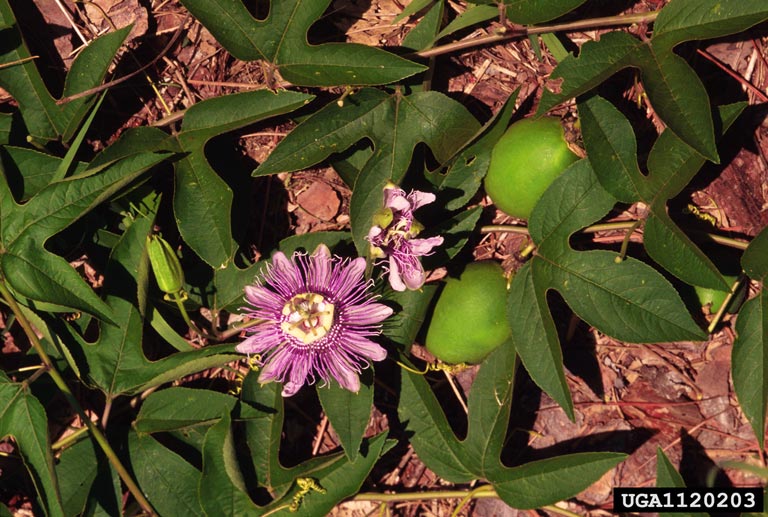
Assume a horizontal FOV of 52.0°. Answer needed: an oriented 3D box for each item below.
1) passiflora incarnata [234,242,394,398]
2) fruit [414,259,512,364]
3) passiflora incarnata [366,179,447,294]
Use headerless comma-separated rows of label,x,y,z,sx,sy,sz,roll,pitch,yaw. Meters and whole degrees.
passiflora incarnata,-0.233,0.200,2.587,0.515,0.228,0.572,8,26,13
fruit,0.289,0.172,2.626,0.182,0.327,0.226,31,-8,-28
passiflora incarnata,0.030,-0.093,2.586,0.303,0.283,0.119,-45,24,-1
